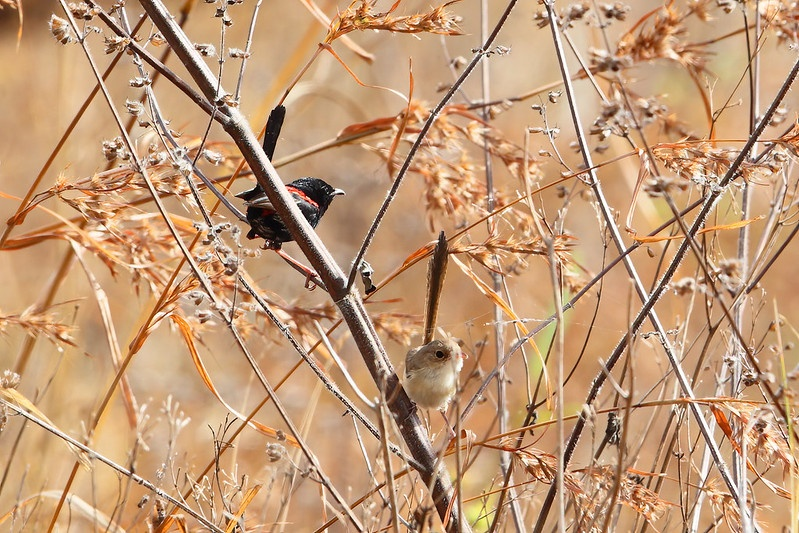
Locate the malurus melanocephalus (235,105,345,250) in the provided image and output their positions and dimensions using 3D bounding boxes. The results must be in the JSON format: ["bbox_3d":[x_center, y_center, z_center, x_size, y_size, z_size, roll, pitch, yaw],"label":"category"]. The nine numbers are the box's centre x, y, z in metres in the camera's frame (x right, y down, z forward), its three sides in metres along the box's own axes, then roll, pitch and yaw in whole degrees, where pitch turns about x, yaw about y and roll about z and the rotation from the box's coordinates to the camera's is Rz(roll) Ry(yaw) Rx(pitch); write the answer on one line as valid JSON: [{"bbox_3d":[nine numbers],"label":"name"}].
[{"bbox_3d":[-0.586,-0.390,4.427,0.382,0.605,0.825,2,-90,-1],"label":"malurus melanocephalus"}]
